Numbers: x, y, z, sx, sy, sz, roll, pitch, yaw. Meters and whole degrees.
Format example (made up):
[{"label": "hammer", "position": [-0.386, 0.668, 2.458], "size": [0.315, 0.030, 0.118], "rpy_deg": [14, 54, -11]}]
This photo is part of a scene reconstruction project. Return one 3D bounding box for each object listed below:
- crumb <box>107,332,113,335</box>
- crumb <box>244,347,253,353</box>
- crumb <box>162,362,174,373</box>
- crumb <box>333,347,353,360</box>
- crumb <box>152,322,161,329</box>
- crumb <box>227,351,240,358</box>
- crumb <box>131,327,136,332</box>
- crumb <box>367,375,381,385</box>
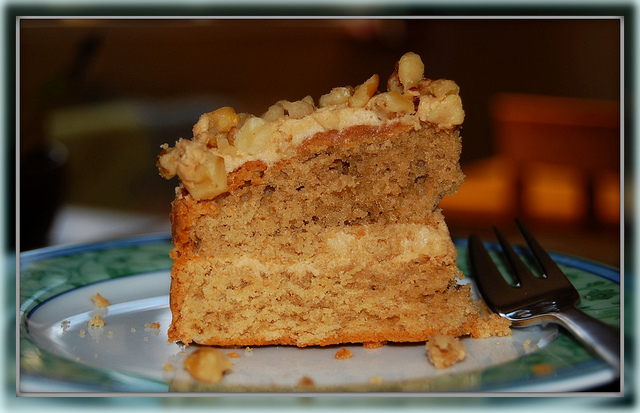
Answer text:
[{"label": "crumb", "position": [-1.135, 0.681, 3.517], "size": [0.026, 0.010, 0.024], "rpy_deg": [-2, 43, -1]}, {"label": "crumb", "position": [-0.377, 0.750, 3.424], "size": [0.043, 0.015, 0.029], "rpy_deg": [-4, 43, -4]}, {"label": "crumb", "position": [-0.756, 0.799, 3.238], "size": [0.034, 0.012, 0.043], "rpy_deg": [13, 19, -12]}, {"label": "crumb", "position": [0.120, 0.752, 3.349], "size": [0.052, 0.020, 0.055], "rpy_deg": [-4, 24, 16]}, {"label": "crumb", "position": [-0.902, 0.652, 3.580], "size": [0.026, 0.009, 0.025], "rpy_deg": [1, 9, -2]}, {"label": "crumb", "position": [-0.449, 0.765, 3.373], "size": [0.028, 0.010, 0.028], "rpy_deg": [3, 6, -1]}, {"label": "crumb", "position": [-1.023, 0.667, 3.555], "size": [0.017, 0.014, 0.044], "rpy_deg": [-12, 44, -12]}, {"label": "crumb", "position": [0.263, 0.833, 3.149], "size": [0.064, 0.025, 0.061], "rpy_deg": [8, 43, 9]}]
